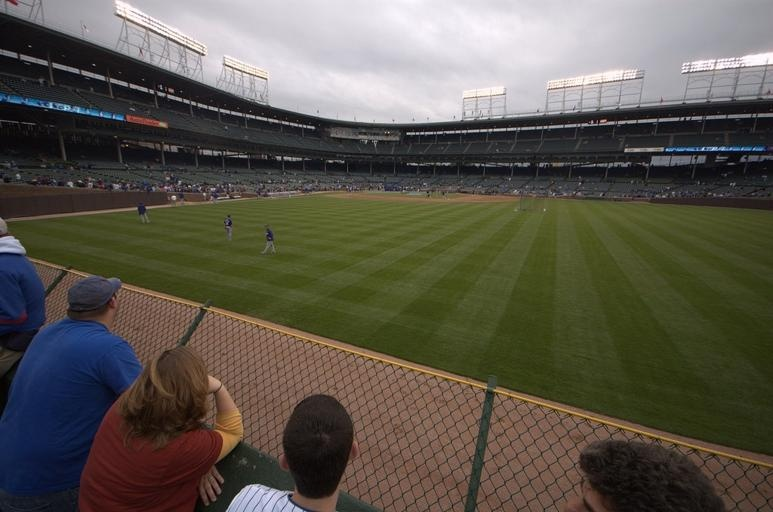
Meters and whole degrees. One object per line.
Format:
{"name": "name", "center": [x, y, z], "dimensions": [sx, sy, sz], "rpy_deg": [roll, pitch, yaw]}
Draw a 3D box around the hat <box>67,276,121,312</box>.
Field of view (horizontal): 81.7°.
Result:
{"name": "hat", "center": [-3.555, 0.442, 5.486], "dimensions": [0.464, 0.271, 0.545], "rpy_deg": [7, 28, 7]}
